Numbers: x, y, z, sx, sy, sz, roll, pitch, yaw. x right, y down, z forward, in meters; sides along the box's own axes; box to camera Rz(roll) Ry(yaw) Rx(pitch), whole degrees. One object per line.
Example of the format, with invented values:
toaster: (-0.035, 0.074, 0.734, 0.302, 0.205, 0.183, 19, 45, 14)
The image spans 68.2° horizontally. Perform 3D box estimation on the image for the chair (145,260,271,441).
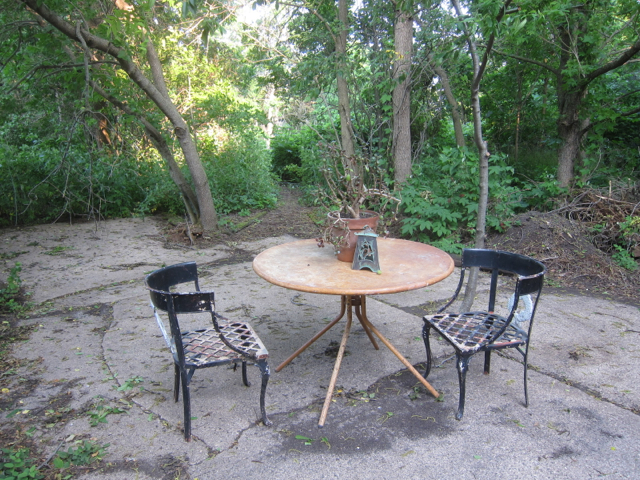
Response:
chair: (-0.930, 0.918, 4.011, 0.938, 1.242, 0.900, -7, 14, -34)

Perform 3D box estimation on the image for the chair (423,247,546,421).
chair: (1.398, 0.816, 4.137, 0.861, 1.249, 0.951, -4, 14, -8)

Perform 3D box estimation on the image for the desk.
desk: (0.397, 0.864, 4.810, 2.100, 1.415, 2.183, -7, 2, -18)

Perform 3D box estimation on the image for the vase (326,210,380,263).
vase: (0.302, -0.032, 4.355, 0.448, 0.346, 0.437, -8, 15, -42)
